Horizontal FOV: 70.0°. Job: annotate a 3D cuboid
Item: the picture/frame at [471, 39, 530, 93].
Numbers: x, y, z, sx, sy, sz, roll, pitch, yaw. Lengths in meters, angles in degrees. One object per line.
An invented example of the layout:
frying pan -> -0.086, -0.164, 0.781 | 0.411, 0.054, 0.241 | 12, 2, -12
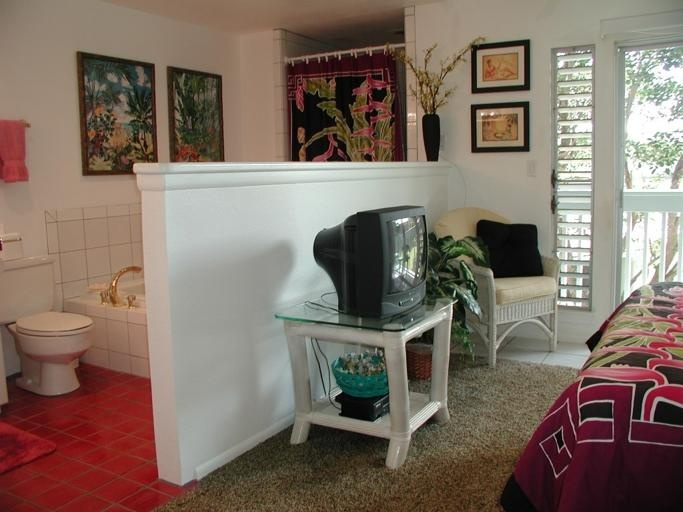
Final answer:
picture/frame -> 1.400, -1.666, 4.254 | 0.453, 0.410, 0.032 | 4, 11, 29

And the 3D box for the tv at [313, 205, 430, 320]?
tv -> 0.133, 0.001, 2.775 | 0.572, 0.576, 0.584 | 5, 10, 29

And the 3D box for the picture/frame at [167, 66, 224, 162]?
picture/frame -> -1.470, -1.409, 4.920 | 0.123, 0.872, 0.754 | 3, 12, 25

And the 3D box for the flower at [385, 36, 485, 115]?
flower -> 0.882, -1.657, 4.479 | 0.735, 0.570, 0.229 | 1, 8, 11

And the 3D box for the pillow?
pillow -> 1.411, -0.071, 4.083 | 0.470, 0.507, 0.176 | -2, -17, -14

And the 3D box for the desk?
desk -> 0.159, 0.647, 2.809 | 0.880, 0.779, 0.909 | -2, 5, 13

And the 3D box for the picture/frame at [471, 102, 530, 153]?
picture/frame -> 1.418, -1.150, 4.314 | 0.427, 0.383, 0.036 | 3, 9, 31

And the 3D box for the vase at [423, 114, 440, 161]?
vase -> 0.809, -1.075, 4.422 | 0.169, 0.415, 0.311 | 0, 11, 11
